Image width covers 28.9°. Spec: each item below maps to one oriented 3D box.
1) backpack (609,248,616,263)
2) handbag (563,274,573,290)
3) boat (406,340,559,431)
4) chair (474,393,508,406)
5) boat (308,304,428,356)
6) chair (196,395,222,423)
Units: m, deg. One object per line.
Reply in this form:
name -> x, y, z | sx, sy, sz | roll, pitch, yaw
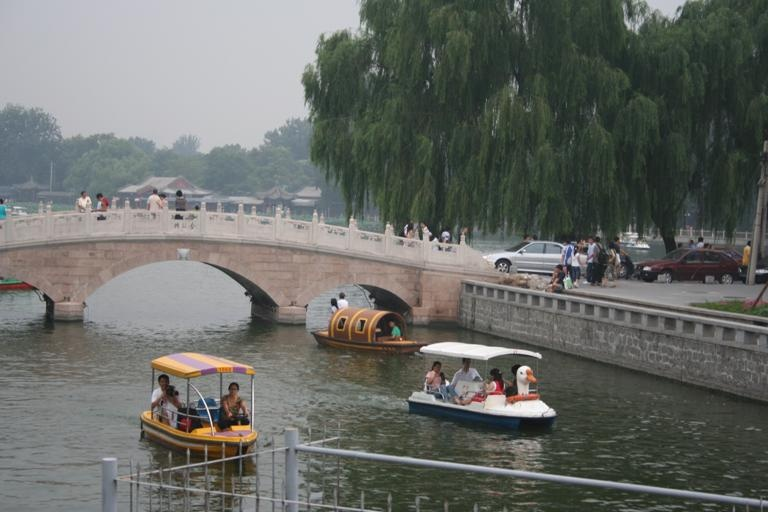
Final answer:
backpack -> 10.537, -0.061, 67.709 | 0.357, 0.667, 0.400 | 1, 3, 14
handbag -> 8.349, 1.125, 66.383 | 0.467, 0.573, 1.036 | 1, 3, 10
boat -> 4.040, 4.851, 55.914 | 5.103, 2.549, 2.896 | 1, 3, 34
chair -> 3.978, 5.290, 54.982 | 1.232, 0.509, 0.352 | 0, 3, 4
boat -> -0.781, 3.185, 64.292 | 4.945, 1.645, 2.296 | 6, 4, 39
chair -> -6.387, 5.487, 53.587 | 0.736, 0.770, 1.012 | 4, -15, -13
